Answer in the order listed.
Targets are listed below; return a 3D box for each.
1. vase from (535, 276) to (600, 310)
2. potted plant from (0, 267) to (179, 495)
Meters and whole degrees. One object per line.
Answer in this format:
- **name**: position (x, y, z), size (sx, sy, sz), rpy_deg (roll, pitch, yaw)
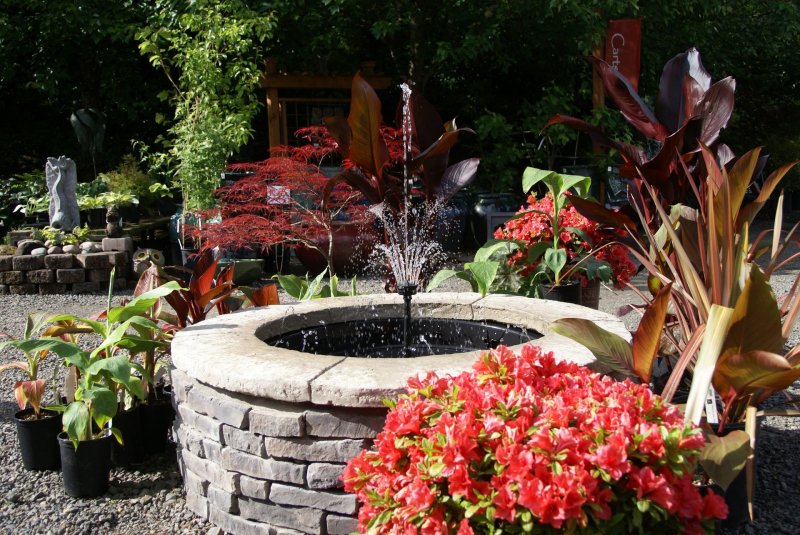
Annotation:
- **vase**: position (1.131, 0.136, 5.193), size (0.264, 0.290, 0.258), rpy_deg (-1, 3, -15)
- **potted plant**: position (-1.715, 0.668, 4.218), size (1.027, 0.919, 1.153), rpy_deg (3, 2, -38)
